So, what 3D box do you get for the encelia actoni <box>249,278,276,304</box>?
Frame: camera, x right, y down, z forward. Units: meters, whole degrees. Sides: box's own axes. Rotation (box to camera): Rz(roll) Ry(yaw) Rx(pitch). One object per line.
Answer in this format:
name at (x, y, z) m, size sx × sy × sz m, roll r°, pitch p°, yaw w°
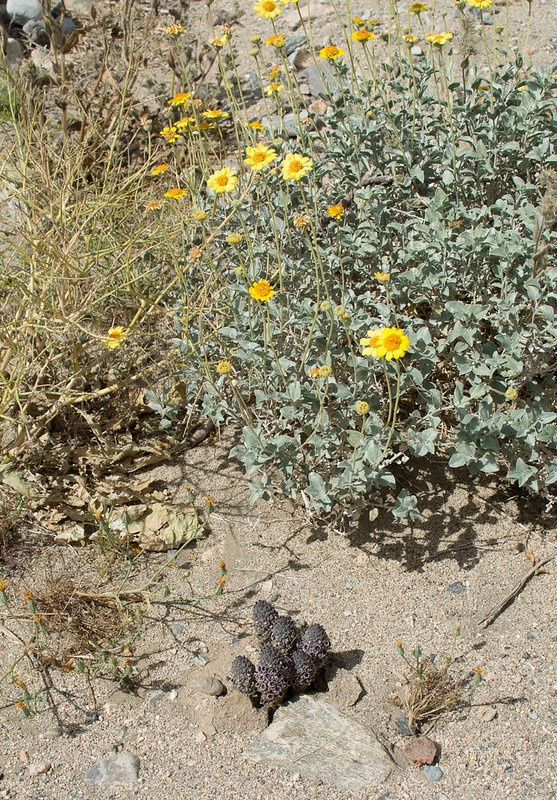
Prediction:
encelia actoni at (-0.044, -0.363, 2.438) m, size 0.115 × 0.040 × 0.107 m, roll 1°, pitch 71°, yaw 7°
